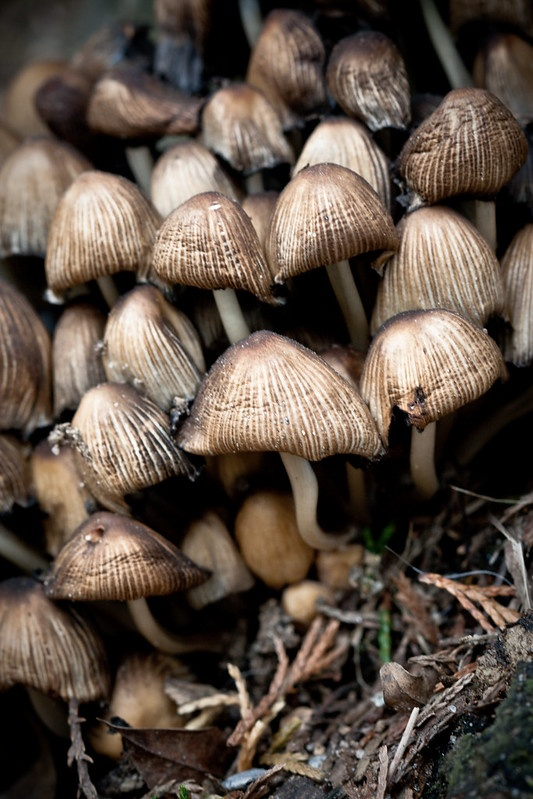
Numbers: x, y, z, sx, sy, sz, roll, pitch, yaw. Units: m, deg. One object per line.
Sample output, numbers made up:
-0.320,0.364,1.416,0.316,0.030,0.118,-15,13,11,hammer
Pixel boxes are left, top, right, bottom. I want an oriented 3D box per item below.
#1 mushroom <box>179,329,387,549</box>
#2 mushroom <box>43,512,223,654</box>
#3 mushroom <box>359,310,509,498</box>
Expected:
0.022,0.071,1.461,0.341,0.421,0.332,-4,0,42,mushroom
-0.293,0.385,1.631,0.302,0.279,0.360,6,8,22,mushroom
0.322,0.023,1.598,0.304,0.363,0.250,-19,32,2,mushroom
